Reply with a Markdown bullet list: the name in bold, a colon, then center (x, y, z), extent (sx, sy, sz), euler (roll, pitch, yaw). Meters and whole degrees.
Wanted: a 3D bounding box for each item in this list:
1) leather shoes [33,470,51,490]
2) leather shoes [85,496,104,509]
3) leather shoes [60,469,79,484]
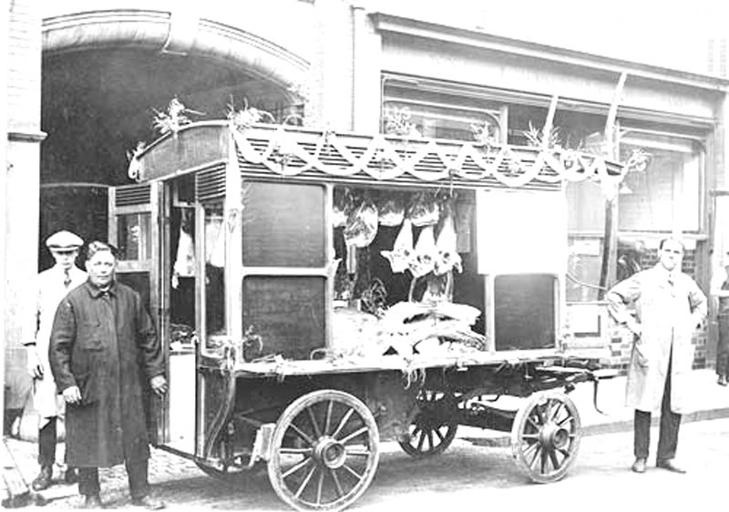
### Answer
- **leather shoes**: center (-3.098, 2.146, 8.451), extent (0.173, 0.172, 0.134), euler (1, 0, -23)
- **leather shoes**: center (-2.432, 2.211, 7.925), extent (0.154, 0.122, 0.105), euler (1, 0, -20)
- **leather shoes**: center (-2.882, 2.134, 8.567), extent (0.170, 0.180, 0.182), euler (-1, -3, -2)
